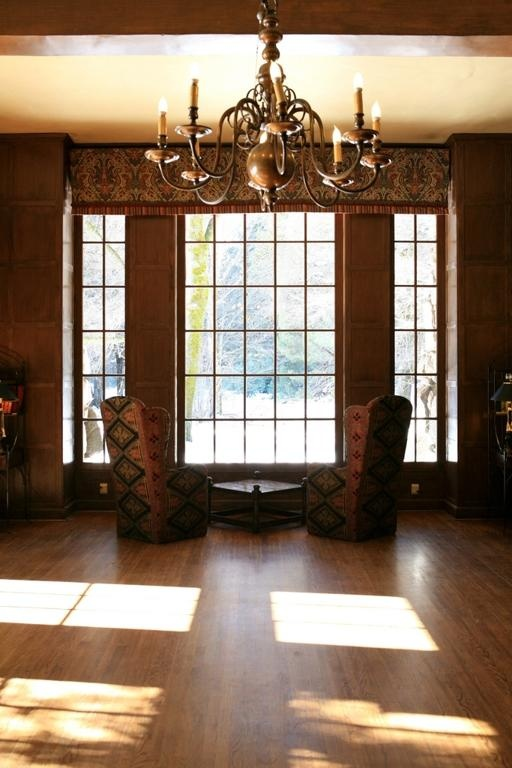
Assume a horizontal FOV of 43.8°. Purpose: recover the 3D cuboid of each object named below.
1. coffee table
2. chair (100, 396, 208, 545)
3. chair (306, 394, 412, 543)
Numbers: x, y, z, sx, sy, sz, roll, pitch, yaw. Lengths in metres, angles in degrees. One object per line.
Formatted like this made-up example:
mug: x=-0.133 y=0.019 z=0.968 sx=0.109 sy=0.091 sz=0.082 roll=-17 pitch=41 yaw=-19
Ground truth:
coffee table: x=0.018 y=0.942 z=5.245 sx=0.788 sy=0.390 sz=0.995 roll=0 pitch=-1 yaw=-1
chair: x=-0.706 y=0.607 z=4.466 sx=0.748 sy=1.022 sz=0.528 roll=0 pitch=-1 yaw=-9
chair: x=0.740 y=0.605 z=4.605 sx=0.453 sy=1.023 sz=0.627 roll=1 pitch=-1 yaw=-36
